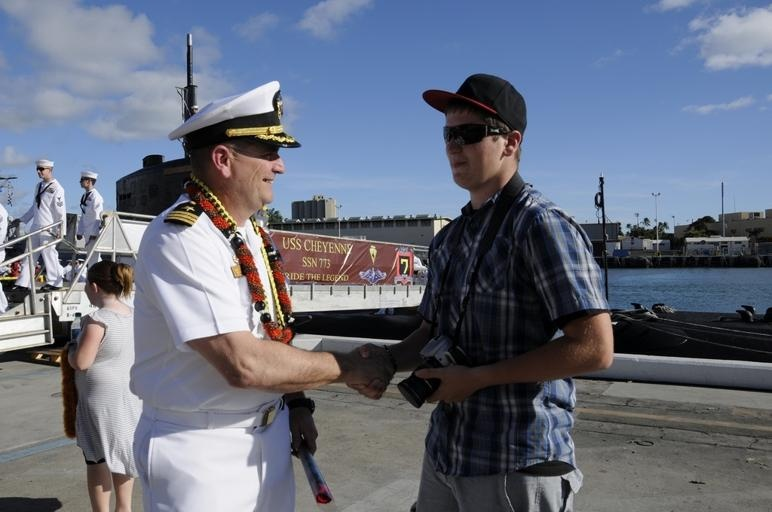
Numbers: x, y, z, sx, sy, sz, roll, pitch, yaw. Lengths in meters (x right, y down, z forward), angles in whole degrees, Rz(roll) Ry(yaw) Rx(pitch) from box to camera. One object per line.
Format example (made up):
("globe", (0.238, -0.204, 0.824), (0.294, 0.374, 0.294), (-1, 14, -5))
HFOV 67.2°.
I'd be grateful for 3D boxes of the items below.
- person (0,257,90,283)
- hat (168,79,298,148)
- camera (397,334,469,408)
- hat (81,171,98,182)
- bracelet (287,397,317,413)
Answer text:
("person", (-7.275, 0.306, 12.456), (0.814, 0.303, 1.379), (-1, -3, 12))
("hat", (-0.902, -0.831, 3.450), (0.803, 0.355, 0.630), (-1, 13, 7))
("camera", (0.263, 0.677, 3.345), (0.434, 0.249, 0.402), (-43, 8, -24))
("hat", (-6.484, -1.758, 12.726), (0.258, 0.210, 0.590), (-1, 1, -30))
("bracelet", (-0.517, 0.921, 3.586), (0.132, 0.054, 0.094), (14, -26, -2))
